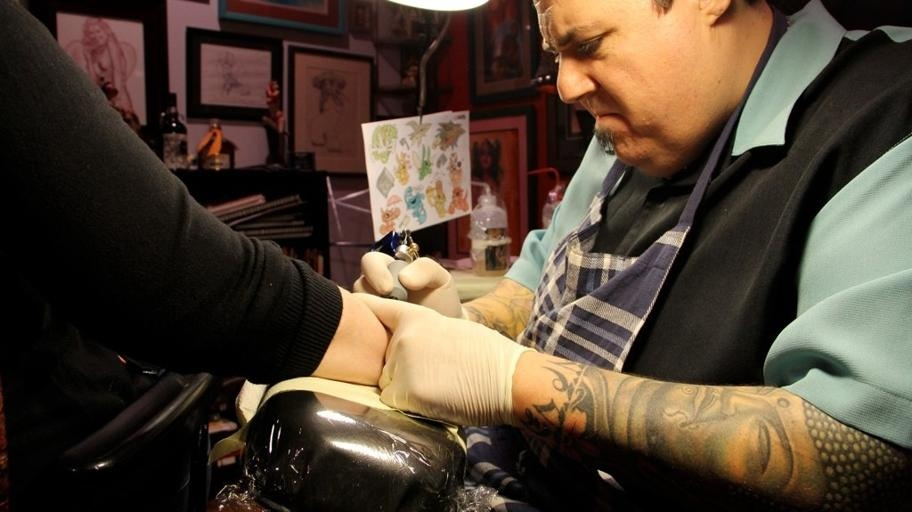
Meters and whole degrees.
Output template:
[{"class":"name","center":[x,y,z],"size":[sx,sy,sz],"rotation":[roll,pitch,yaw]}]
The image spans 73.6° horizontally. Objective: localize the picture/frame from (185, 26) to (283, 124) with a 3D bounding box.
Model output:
[{"class":"picture/frame","center":[-1.166,-0.935,3.135],"size":[0.619,0.560,0.046],"rotation":[0,1,-33]}]
